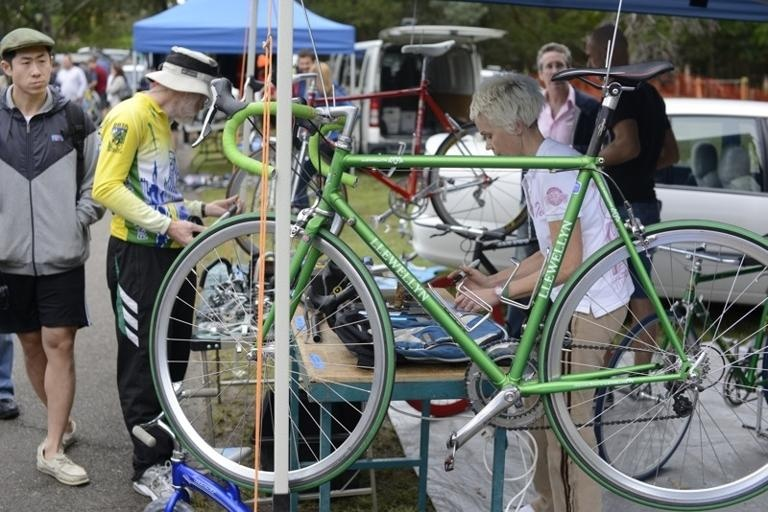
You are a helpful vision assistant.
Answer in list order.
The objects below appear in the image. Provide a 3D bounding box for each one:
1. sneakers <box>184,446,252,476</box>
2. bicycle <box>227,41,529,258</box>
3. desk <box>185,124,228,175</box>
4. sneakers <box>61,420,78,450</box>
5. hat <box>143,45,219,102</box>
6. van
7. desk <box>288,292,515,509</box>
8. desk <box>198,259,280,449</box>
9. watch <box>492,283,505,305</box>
[{"bbox_3d":[-0.962,1.205,5.886,0.287,0.097,0.291,5,5,32],"label":"sneakers"},{"bbox_3d":[0.059,-0.944,8.685,2.264,1.479,1.178,4,10,6],"label":"bicycle"},{"bbox_3d":[-2.502,-1.465,13.939,0.652,0.408,1.643,-3,23,-9],"label":"desk"},{"bbox_3d":[-2.174,1.231,6.827,0.067,0.086,0.194,4,27,1],"label":"sneakers"},{"bbox_3d":[-1.244,-1.140,6.246,0.520,0.298,0.470,12,6,5],"label":"hat"},{"bbox_3d":[0.477,-2.373,13.758,1.996,1.632,2.808,-3,24,-4],"label":"van"},{"bbox_3d":[0.062,0.880,6.220,1.125,1.118,1.160,1,3,-8],"label":"desk"},{"bbox_3d":[-0.931,0.612,6.341,0.568,0.811,1.129,1,10,-3],"label":"desk"},{"bbox_3d":[0.670,0.208,5.737,0.024,0.087,0.063,11,-1,-24],"label":"watch"}]
